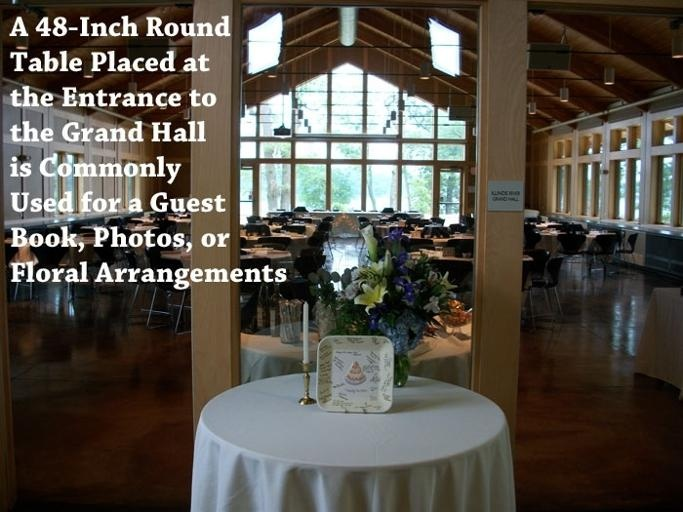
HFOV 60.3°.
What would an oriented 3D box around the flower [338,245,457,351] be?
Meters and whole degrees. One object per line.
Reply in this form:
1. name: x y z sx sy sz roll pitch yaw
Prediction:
1. flower: 0.245 0.151 2.844 0.448 0.490 0.468 5 1 -13
